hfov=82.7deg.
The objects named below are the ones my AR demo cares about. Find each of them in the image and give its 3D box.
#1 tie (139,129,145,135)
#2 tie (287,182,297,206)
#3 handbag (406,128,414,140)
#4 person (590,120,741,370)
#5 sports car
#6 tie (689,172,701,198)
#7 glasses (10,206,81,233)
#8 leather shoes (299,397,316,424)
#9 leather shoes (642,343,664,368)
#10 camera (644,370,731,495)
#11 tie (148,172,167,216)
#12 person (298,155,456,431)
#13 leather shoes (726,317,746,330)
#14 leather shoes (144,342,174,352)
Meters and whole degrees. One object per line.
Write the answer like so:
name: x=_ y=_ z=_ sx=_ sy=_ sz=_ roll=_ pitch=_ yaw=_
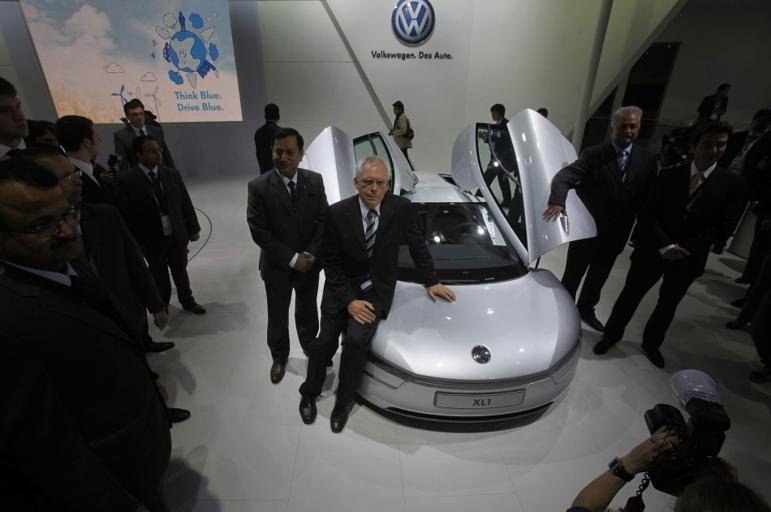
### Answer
tie: x=-2.882 y=-1.465 z=5.188 sx=0.074 sy=0.036 sz=0.121 roll=12 pitch=24 yaw=-19
tie: x=-0.773 y=-0.519 z=3.622 sx=0.099 sy=0.143 sz=0.036 roll=-7 pitch=8 yaw=-43
handbag: x=0.432 y=-2.264 z=8.079 sx=0.160 sy=0.231 sz=0.087 roll=2 pitch=1 yaw=-26
person: x=2.518 y=-0.045 z=3.841 sx=0.707 sy=2.110 sz=0.802 roll=21 pitch=35 yaw=36
sports car: x=0.545 y=-0.380 z=4.726 sx=2.792 sy=1.922 sz=3.947 roll=0 pitch=28 yaw=2
tie: x=2.650 y=-0.614 z=3.758 sx=0.037 sy=0.157 sz=0.092 roll=3 pitch=19 yaw=-36
glasses: x=-1.870 y=-0.196 z=2.385 sx=0.204 sy=0.062 sz=0.200 roll=-3 pitch=33 yaw=-11
leather shoes: x=-0.640 y=1.261 z=3.571 sx=0.105 sy=0.090 sz=0.217 roll=0 pitch=54 yaw=-9
leather shoes: x=2.493 y=0.918 z=4.160 sx=0.101 sy=0.109 sz=0.273 roll=-16 pitch=45 yaw=0
camera: x=1.634 y=0.989 z=2.421 sx=0.266 sy=0.642 sz=0.450 roll=9 pitch=29 yaw=13
tie: x=-2.159 y=-0.597 z=4.176 sx=0.112 sy=0.422 sz=0.103 roll=-11 pitch=17 yaw=-16
person: x=-0.201 y=0.264 z=3.535 sx=1.321 sy=1.955 sz=0.703 roll=-19 pitch=32 yaw=-31
leather shoes: x=3.550 y=0.706 z=4.457 sx=0.174 sy=0.078 sz=0.075 roll=-5 pitch=-11 yaw=31
leather shoes: x=-2.150 y=0.866 z=4.161 sx=0.253 sy=0.177 sz=0.087 roll=-1 pitch=64 yaw=-32
